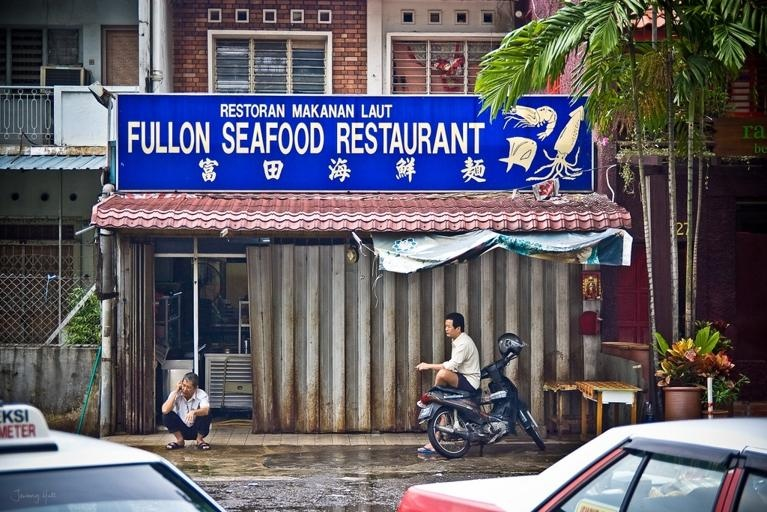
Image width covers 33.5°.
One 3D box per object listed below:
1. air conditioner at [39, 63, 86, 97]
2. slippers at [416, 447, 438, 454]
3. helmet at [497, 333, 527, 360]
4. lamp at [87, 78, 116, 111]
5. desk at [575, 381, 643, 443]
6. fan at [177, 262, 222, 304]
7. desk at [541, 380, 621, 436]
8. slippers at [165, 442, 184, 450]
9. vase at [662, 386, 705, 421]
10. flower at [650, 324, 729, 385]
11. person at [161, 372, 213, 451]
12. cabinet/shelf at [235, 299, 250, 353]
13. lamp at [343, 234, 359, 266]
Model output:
[{"bbox_3d":[-6.809,-3.826,27.459,0.964,0.398,0.311,0,0,-1],"label":"air conditioner"},{"bbox_3d":[0.792,3.541,22.978,0.236,0.081,0.139,4,-2,-8],"label":"slippers"},{"bbox_3d":[2.285,1.671,23.052,0.465,0.481,0.379,27,-23,-1],"label":"helmet"},{"bbox_3d":[-5.279,-3.017,24.210,0.466,0.436,0.444,0,-1,-14],"label":"lamp"},{"bbox_3d":[4.369,2.876,23.844,0.763,1.131,1.563,1,8,10],"label":"desk"},{"bbox_3d":[-3.457,0.569,25.102,0.791,0.817,0.200,1,11,3],"label":"fan"},{"bbox_3d":[3.596,2.800,23.549,0.797,0.828,1.260,0,-8,-3],"label":"desk"},{"bbox_3d":[-3.747,3.479,23.155,0.336,0.099,0.131,6,-4,-13],"label":"slippers"},{"bbox_3d":[5.257,2.643,22.664,0.705,0.815,0.747,3,-8,-5],"label":"vase"},{"bbox_3d":[5.439,1.819,22.496,1.245,1.095,0.315,-1,0,7],"label":"flower"},{"bbox_3d":[-3.540,2.859,23.196,0.879,1.382,0.905,3,-9,-30],"label":"person"},{"bbox_3d":[-2.699,1.480,24.896,0.302,0.972,0.517,8,-4,3],"label":"cabinet/shelf"},{"bbox_3d":[-0.577,-0.066,24.112,0.266,0.543,0.117,-3,-3,31],"label":"lamp"}]
